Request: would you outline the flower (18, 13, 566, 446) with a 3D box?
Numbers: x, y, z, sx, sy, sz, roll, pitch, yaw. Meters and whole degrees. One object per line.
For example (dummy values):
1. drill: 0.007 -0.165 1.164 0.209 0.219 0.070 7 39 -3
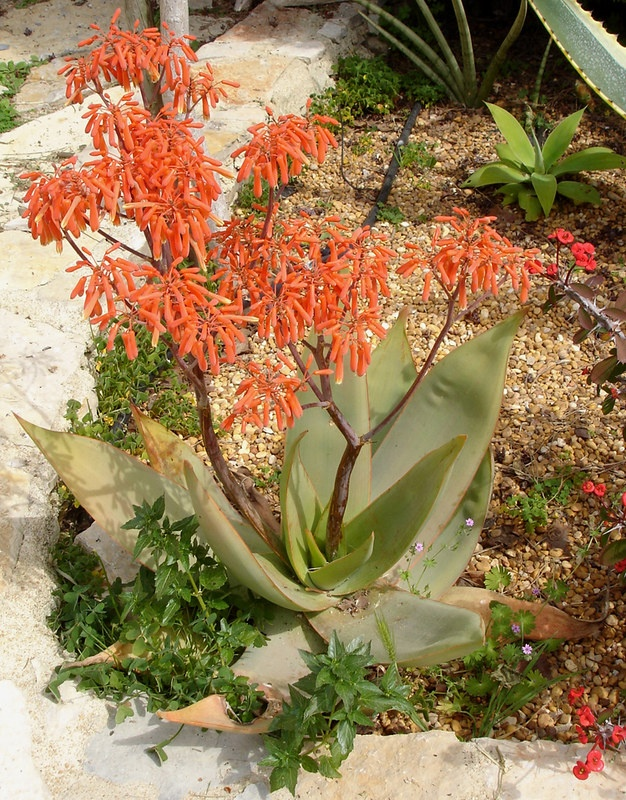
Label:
1. flower: -0.443 -0.543 2.259 1.127 0.694 1.292 -36 85 -19
